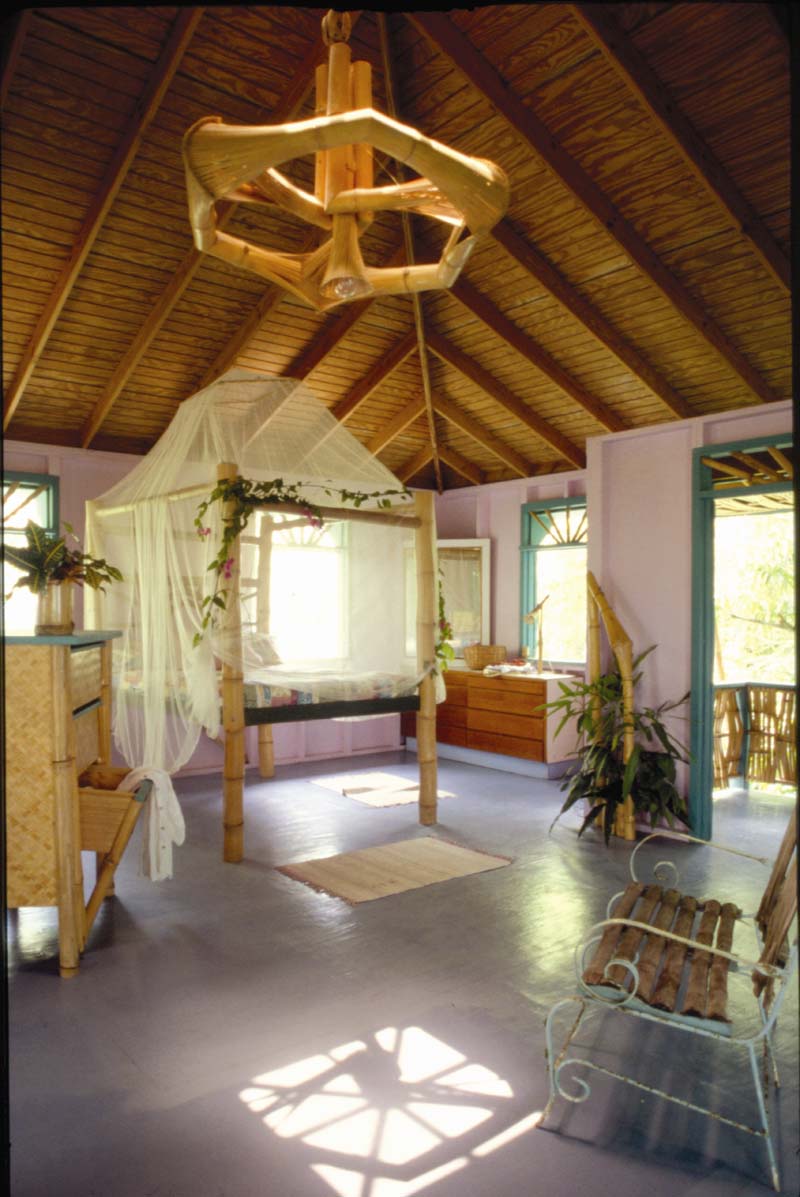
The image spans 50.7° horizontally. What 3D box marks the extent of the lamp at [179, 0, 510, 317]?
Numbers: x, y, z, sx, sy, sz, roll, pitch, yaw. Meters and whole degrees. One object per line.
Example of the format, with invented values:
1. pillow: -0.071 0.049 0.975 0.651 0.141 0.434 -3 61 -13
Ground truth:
1. lamp: -0.186 -1.613 2.852 0.994 1.050 1.150 1 -1 -7

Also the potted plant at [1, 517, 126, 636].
1. potted plant: -1.790 -0.117 4.522 0.792 0.644 0.793 4 -6 -35

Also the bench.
1. bench: 0.899 1.339 2.880 0.752 1.062 1.231 1 -4 22

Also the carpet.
1. carpet: -0.027 1.464 4.608 1.134 0.025 0.811 1 -1 -38
